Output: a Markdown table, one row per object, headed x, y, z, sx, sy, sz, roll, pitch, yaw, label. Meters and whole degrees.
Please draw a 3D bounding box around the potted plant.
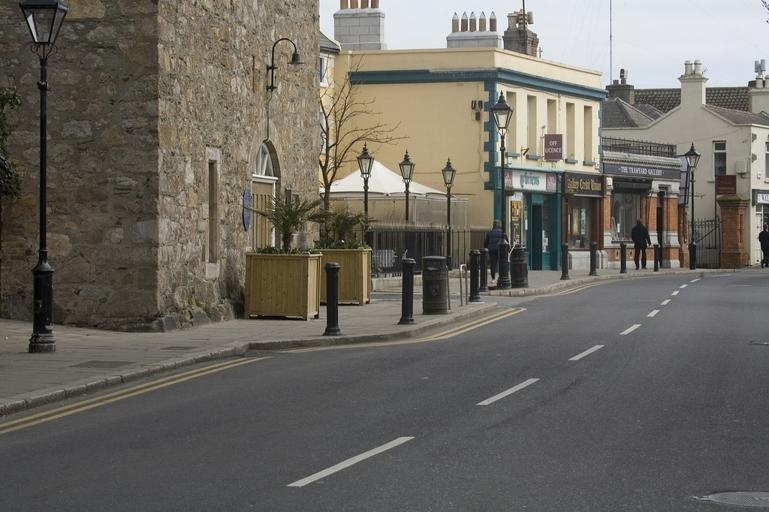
| x | y | z | sx | sy | sz | roll | pitch | yaw | label |
| --- | --- | --- | --- | --- | --- | --- | --- | --- | --- |
| -2.025 | 0.027 | 24.866 | 2.571 | 3.072 | 2.861 | -2 | -6 | 23 | potted plant |
